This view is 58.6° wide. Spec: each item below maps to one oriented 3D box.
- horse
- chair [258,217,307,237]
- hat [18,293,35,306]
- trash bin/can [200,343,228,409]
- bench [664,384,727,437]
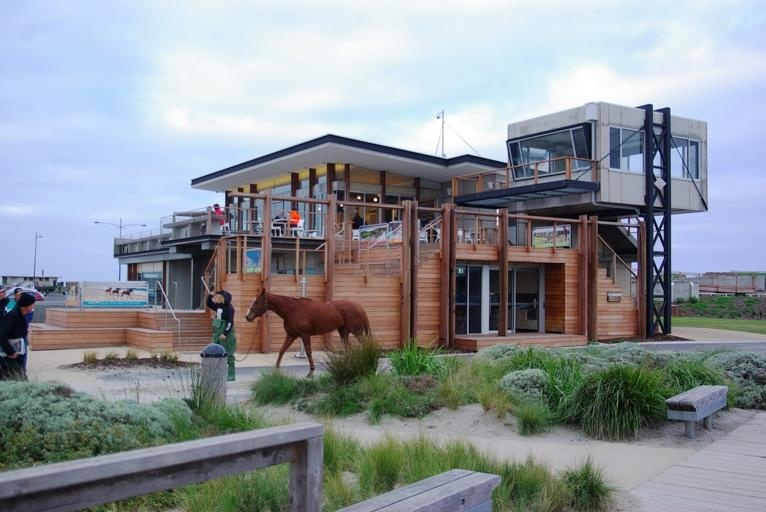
[{"bbox_3d":[-1.723,1.784,16.588,2.923,2.018,0.961,1,-4,-31],"label":"horse"},{"bbox_3d":[-4.051,-1.191,28.595,1.546,0.755,1.608,1,2,30],"label":"chair"},{"bbox_3d":[-6.713,0.851,12.874,0.218,0.252,0.289,-7,12,-27],"label":"hat"},{"bbox_3d":[-2.690,1.889,10.843,0.408,0.927,0.494,0,-3,-16],"label":"trash bin/can"},{"bbox_3d":[5.116,2.521,11.059,0.475,0.610,1.487,-4,-1,43],"label":"bench"}]
